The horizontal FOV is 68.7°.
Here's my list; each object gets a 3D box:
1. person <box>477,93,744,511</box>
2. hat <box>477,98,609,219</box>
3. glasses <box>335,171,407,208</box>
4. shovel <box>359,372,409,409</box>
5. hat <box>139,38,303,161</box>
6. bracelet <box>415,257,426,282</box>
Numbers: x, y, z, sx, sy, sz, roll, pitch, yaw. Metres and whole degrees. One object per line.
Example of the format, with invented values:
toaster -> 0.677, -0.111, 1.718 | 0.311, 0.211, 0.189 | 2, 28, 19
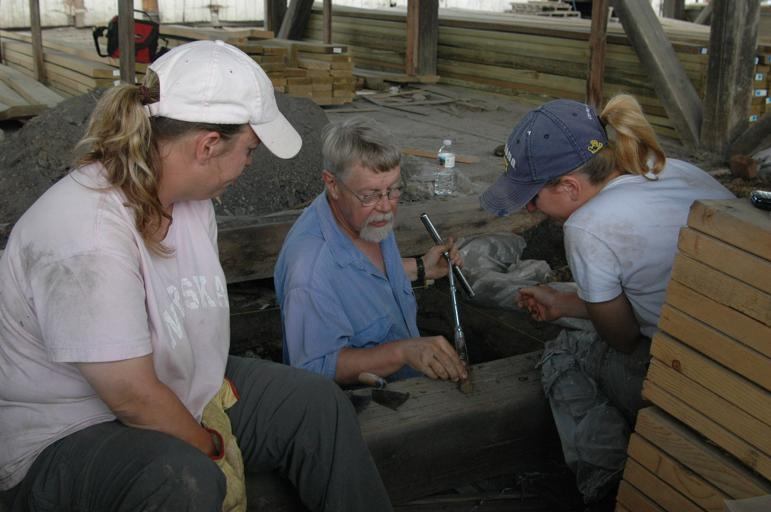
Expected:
person -> 1.084, 0.174, 2.920 | 0.730, 1.943, 0.795 | -13, 21, -38
hat -> 0.727, -0.481, 2.739 | 0.624, 0.340, 0.395 | -33, 24, 21
glasses -> -0.056, -0.342, 3.143 | 0.222, 0.063, 0.226 | -18, 31, -35
shovel -> -0.019, 0.702, 2.946 | 0.253, 0.154, 0.074 | 11, -8, 37
hat -> -0.637, -0.642, 2.285 | 0.571, 0.307, 0.385 | 14, 21, -25
bracelet -> 0.230, 0.080, 3.760 | 0.092, 0.141, 0.127 | -7, 57, 1
